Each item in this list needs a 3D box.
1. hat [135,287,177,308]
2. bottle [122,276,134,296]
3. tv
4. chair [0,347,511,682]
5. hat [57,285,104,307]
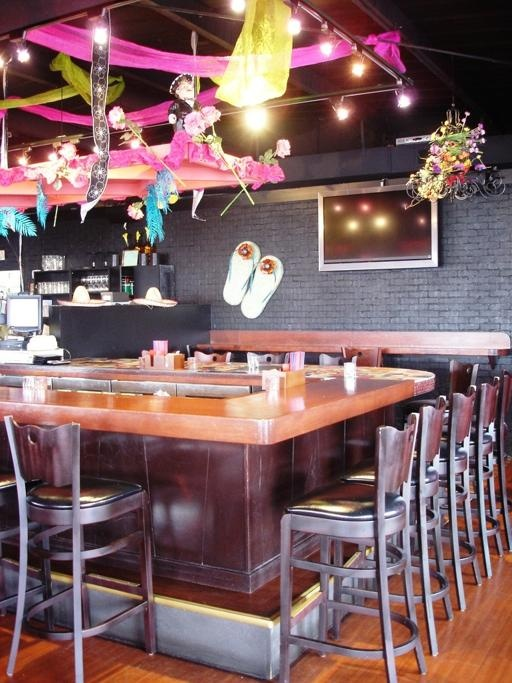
[{"bbox_3d":[-1.059,-0.448,6.394,0.322,0.138,0.366,2,-1,5],"label":"hat"},{"bbox_3d":[-1.917,-0.826,9.007,0.156,0.287,0.255,-2,8,-7],"label":"bottle"},{"bbox_3d":[1.437,-1.382,7.188,1.428,0.932,0.091,3,16,26],"label":"tv"},{"bbox_3d":[-0.234,0.597,3.511,2.007,1.038,2.326,3,9,25],"label":"chair"},{"bbox_3d":[-1.832,-0.452,6.438,0.418,0.167,0.467,0,-2,-3],"label":"hat"}]
